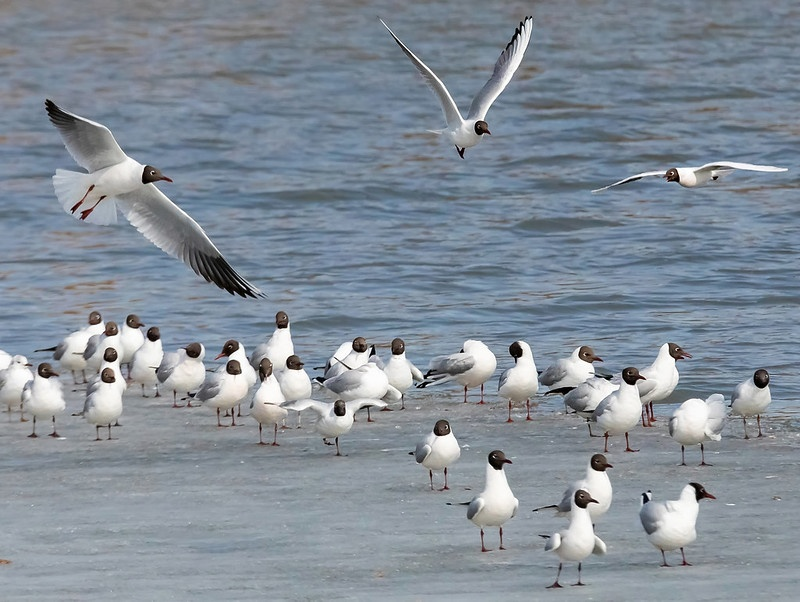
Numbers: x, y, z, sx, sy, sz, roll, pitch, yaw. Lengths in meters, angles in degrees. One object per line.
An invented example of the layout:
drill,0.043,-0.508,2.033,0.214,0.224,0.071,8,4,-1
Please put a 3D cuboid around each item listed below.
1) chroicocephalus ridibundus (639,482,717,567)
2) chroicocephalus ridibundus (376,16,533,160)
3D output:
chroicocephalus ridibundus,4.158,3.215,22.095,0.986,0.904,0.537,-10,18,5
chroicocephalus ridibundus,1.677,-4.462,31.243,1.947,2.883,2.724,-4,18,31
